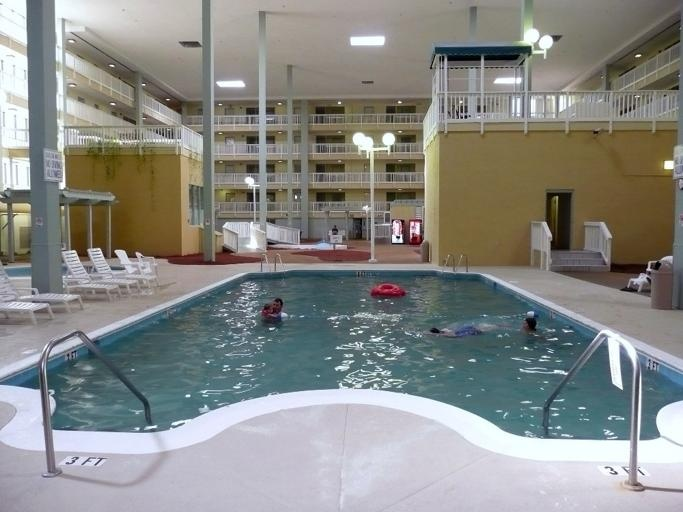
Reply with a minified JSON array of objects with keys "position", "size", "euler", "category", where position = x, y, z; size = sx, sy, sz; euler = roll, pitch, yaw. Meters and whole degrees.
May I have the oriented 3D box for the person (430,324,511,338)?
[{"position":[2.533,1.443,10.298],"size":[1.662,0.291,0.506],"euler":[0,6,-18],"category":"person"}]
